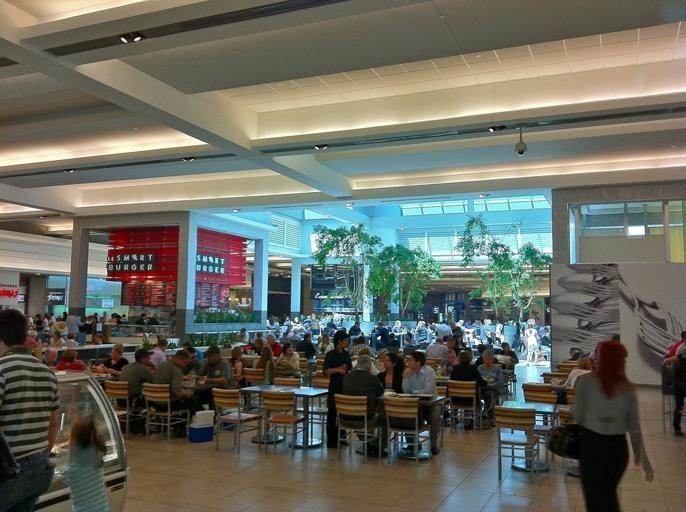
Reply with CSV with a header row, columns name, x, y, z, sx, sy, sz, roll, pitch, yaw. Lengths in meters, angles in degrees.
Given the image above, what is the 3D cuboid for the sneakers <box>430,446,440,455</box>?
name,x,y,z,sx,sy,sz,roll,pitch,yaw
sneakers,1.494,3.115,7.900,0.080,0.132,0.212,0,-1,26

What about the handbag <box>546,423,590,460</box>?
name,x,y,z,sx,sy,sz,roll,pitch,yaw
handbag,1.962,1.627,4.355,0.223,0.356,0.483,0,-2,5

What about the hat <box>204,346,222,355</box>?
name,x,y,z,sx,sy,sz,roll,pitch,yaw
hat,-2.547,1.837,9.441,0.342,0.146,0.229,8,0,3
